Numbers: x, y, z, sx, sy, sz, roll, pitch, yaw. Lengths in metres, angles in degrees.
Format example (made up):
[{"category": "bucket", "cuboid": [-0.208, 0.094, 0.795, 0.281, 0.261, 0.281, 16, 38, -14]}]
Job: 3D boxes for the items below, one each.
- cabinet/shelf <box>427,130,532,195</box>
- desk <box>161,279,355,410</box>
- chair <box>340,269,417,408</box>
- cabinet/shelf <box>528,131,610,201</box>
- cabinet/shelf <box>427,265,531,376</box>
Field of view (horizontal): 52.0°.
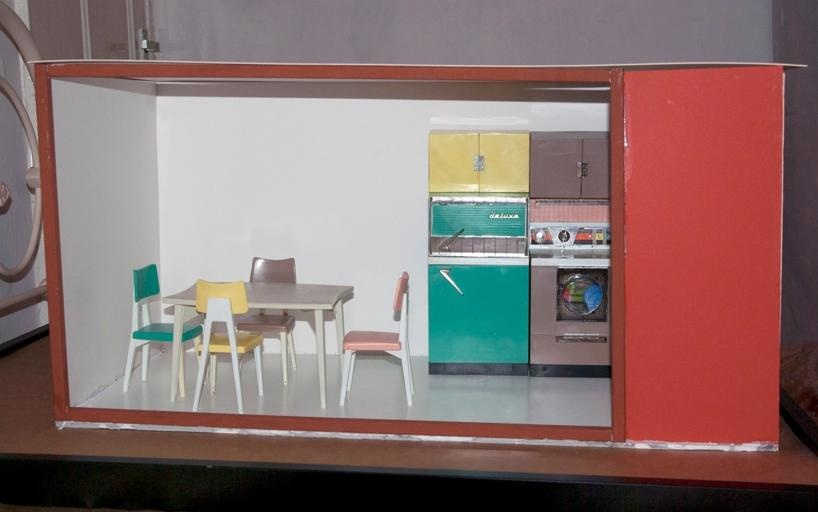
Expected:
[{"category": "cabinet/shelf", "cuboid": [0.774, -1.033, 9.372, 1.081, 0.646, 0.209, 1, 5, 13]}, {"category": "desk", "cuboid": [-1.604, 0.893, 9.321, 2.161, 1.207, 2.046, -2, 6, -16]}, {"category": "chair", "cuboid": [-0.343, 0.865, 8.898, 0.822, 1.216, 0.832, 2, 6, 15]}, {"category": "cabinet/shelf", "cuboid": [1.839, -1.044, 9.527, 0.908, 0.705, 0.513, 3, 20, 14]}, {"category": "cabinet/shelf", "cuboid": [0.789, 0.708, 9.917, 1.158, 1.201, 1.170, 0, 1, 3]}]
